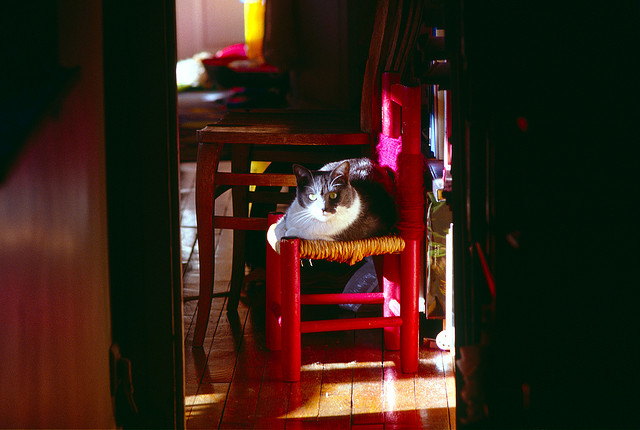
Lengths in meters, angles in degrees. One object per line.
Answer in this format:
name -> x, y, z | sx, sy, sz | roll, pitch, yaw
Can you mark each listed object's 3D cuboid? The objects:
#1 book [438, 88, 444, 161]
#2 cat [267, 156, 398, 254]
book -> 0.339, -0.255, 1.635 | 0.017, 0.195, 0.032 | 5, 13, 37
cat -> 0.056, -0.054, 1.612 | 0.236, 0.275, 0.393 | 4, 27, 22
